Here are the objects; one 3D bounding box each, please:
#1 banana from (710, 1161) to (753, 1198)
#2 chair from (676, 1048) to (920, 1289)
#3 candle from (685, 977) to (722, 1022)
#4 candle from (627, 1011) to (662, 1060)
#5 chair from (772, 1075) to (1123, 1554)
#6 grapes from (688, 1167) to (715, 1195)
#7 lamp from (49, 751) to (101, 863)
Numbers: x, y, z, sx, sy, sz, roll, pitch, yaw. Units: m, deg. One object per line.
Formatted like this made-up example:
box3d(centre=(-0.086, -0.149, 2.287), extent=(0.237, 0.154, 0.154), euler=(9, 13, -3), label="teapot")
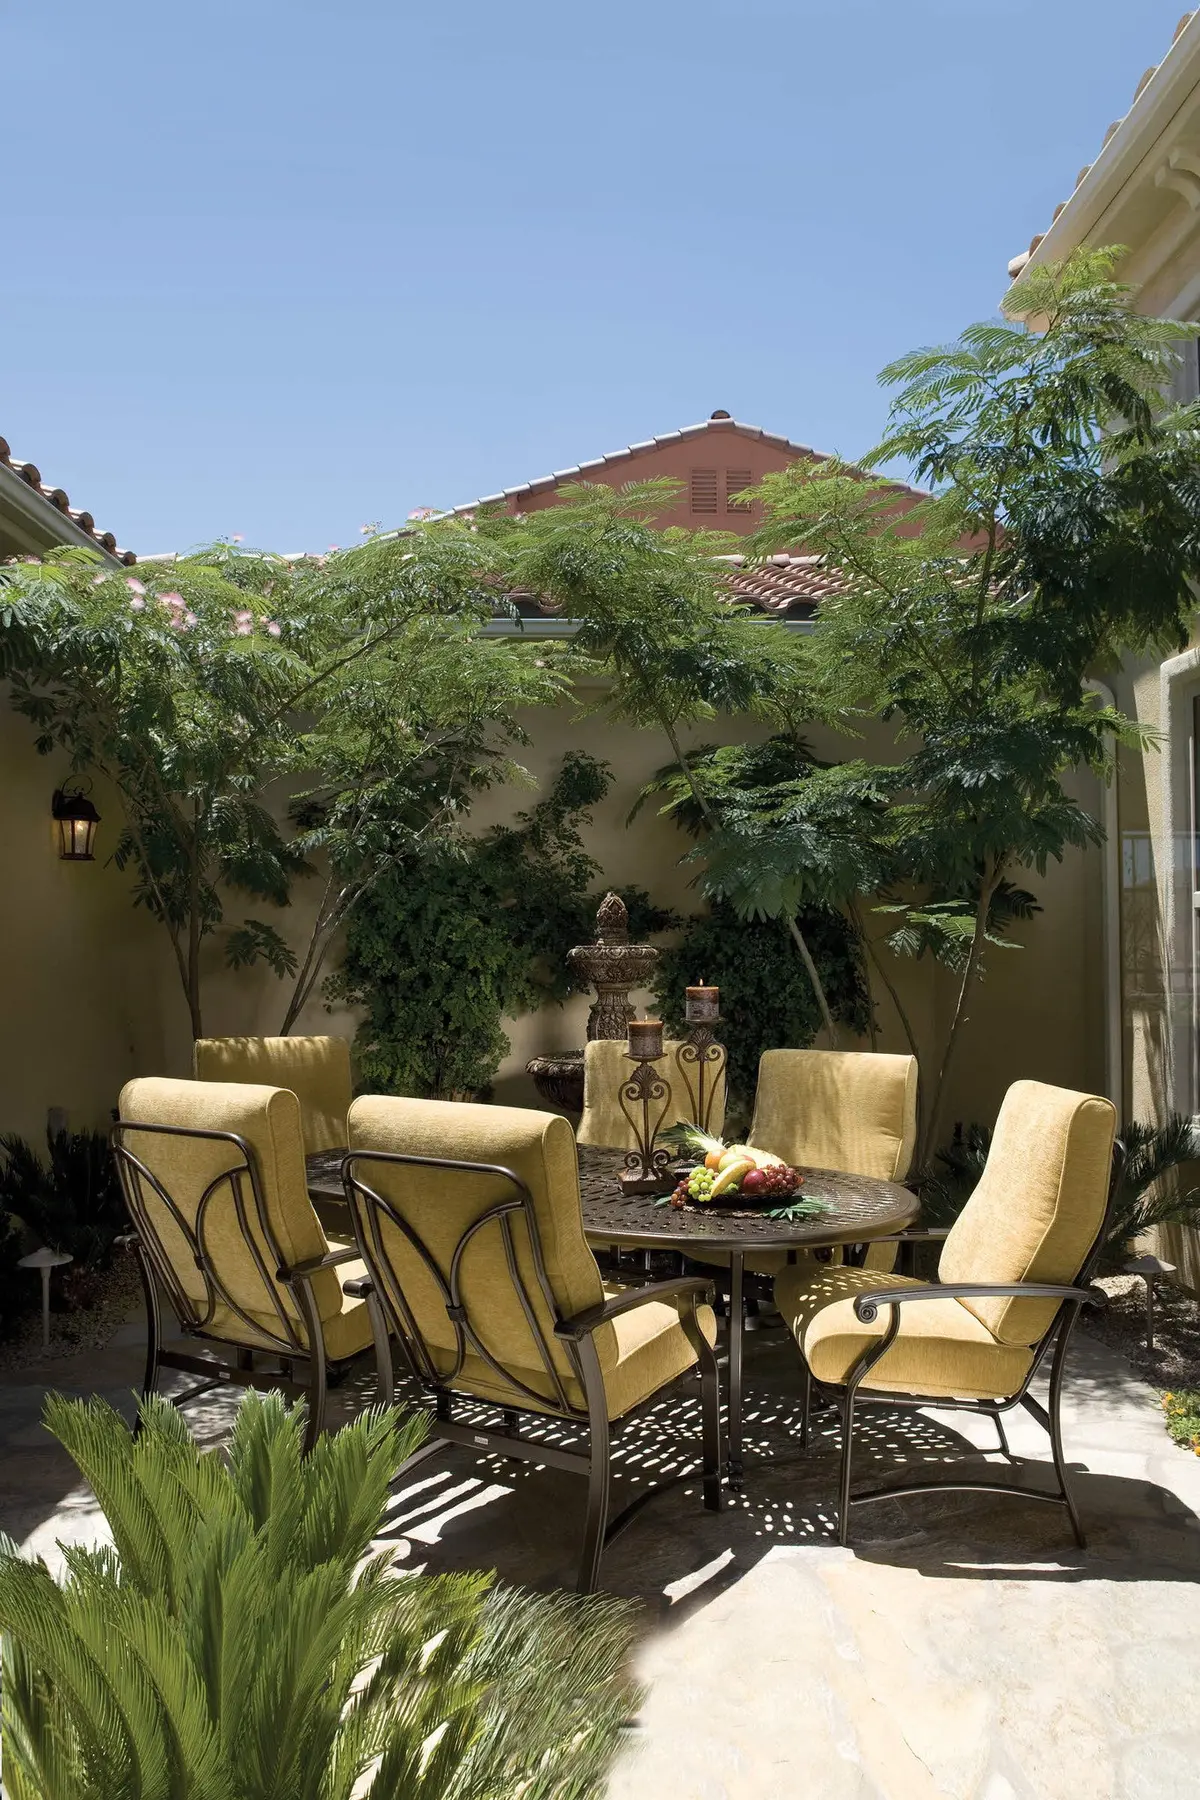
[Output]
box3d(centre=(0.347, 0.760, 3.470), extent=(0.079, 0.028, 0.082), euler=(-2, 33, 7), label="banana")
box3d(centre=(0.903, 1.052, 4.782), extent=(0.803, 1.049, 0.758), euler=(-11, -19, 43), label="chair")
box3d(centre=(0.294, 0.285, 3.645), extent=(0.121, 0.139, 0.120), euler=(4, -4, -25), label="candle")
box3d(centre=(0.113, 0.393, 3.668), extent=(0.104, 0.126, 0.110), euler=(3, 1, 22), label="candle")
box3d(centre=(0.853, 0.998, 3.253), extent=(0.718, 1.044, 0.854), euler=(-1, -3, 6), label="chair")
box3d(centre=(0.274, 0.776, 3.529), extent=(0.044, 0.037, 0.061), euler=(6, 16, 3), label="grapes")
box3d(centre=(-2.513, -0.402, 6.136), extent=(0.204, 0.434, 0.349), euler=(0, -3, -11), label="lamp")
